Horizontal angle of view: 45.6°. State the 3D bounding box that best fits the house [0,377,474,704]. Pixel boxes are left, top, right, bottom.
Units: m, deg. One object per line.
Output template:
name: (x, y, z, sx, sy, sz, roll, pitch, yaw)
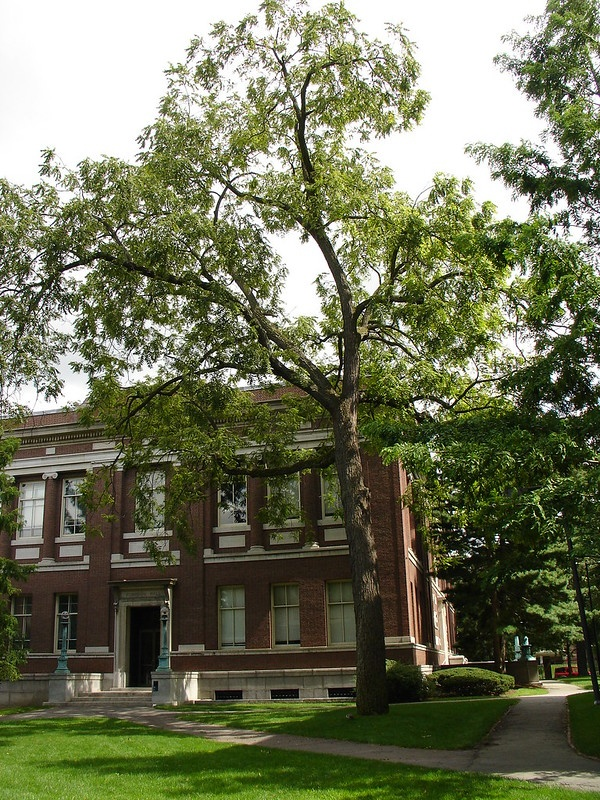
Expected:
house: (-2.303, 8.275, 29.925, 13.129, 7.801, 13.115, -9, -20, 21)
